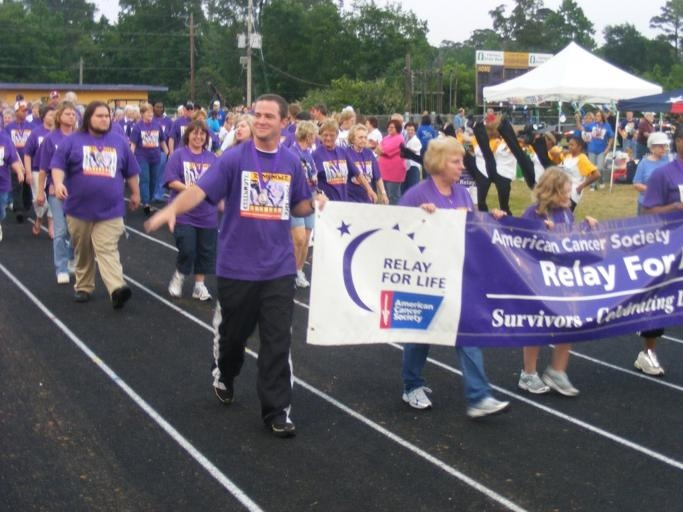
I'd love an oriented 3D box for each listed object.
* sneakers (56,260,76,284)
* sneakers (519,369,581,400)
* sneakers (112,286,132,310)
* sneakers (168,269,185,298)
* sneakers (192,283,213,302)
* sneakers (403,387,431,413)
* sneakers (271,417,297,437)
[{"bbox_3d":[-4.125,0.251,10.653,0.160,0.259,0.566,8,6,-22],"label":"sneakers"},{"bbox_3d":[2.067,1.252,7.146,0.601,0.277,0.246,4,0,11],"label":"sneakers"},{"bbox_3d":[-2.816,0.523,9.058,0.150,0.432,0.202,3,46,-38],"label":"sneakers"},{"bbox_3d":[-2.319,0.412,9.967,0.167,0.469,0.182,15,-35,-36],"label":"sneakers"},{"bbox_3d":[-1.949,0.480,9.966,0.163,0.228,0.354,-2,4,-40],"label":"sneakers"},{"bbox_3d":[0.725,1.353,6.746,0.140,0.134,0.273,-1,2,-28],"label":"sneakers"},{"bbox_3d":[-0.516,1.443,6.138,0.232,0.209,0.171,2,13,4],"label":"sneakers"}]
